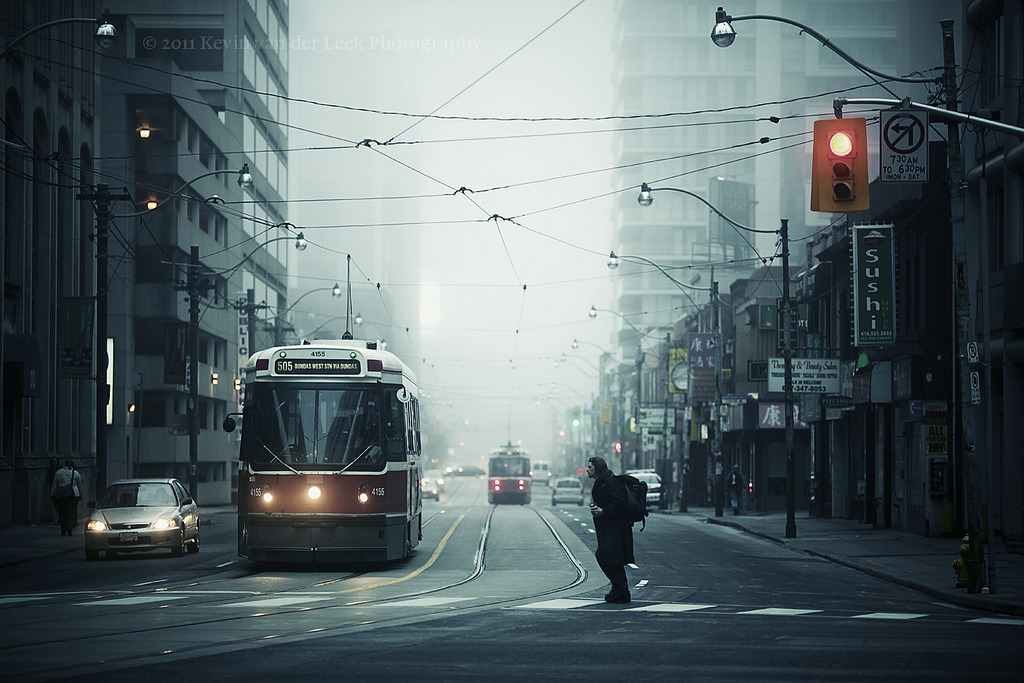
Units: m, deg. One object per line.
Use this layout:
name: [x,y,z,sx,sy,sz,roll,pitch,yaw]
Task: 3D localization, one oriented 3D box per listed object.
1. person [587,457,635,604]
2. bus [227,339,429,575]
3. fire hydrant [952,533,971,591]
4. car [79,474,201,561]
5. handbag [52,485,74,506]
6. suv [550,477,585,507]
person: [2.299,4.294,33.450,0.967,3.279,0.876,-1,-8,4]
bus: [-5.087,3.481,42.983,4.419,6.209,10.644,-1,-9,0]
fire hydrant: [11.246,5.420,36.239,0.407,1.307,1.593,-3,-9,16]
car: [-11.128,5.194,44.039,2.874,2.242,5.054,-1,-3,-6]
handbag: [-15.307,5.168,49.618,0.692,0.688,0.505,-15,-13,40]
suv: [3.393,8.956,87.651,1.799,1.818,4.273,-1,-10,0]
